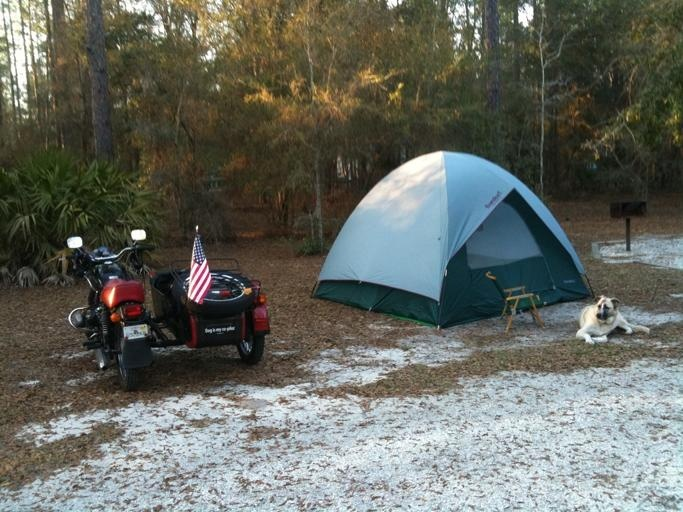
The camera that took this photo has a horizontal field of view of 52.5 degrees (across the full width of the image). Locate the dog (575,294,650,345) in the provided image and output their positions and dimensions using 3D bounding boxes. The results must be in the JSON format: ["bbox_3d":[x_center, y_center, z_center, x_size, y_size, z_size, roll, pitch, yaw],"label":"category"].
[{"bbox_3d":[3.918,0.878,10.325,1.034,0.622,0.538,-6,7,-22],"label":"dog"}]

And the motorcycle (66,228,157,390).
[{"bbox_3d":[-3.008,0.673,9.031,1.006,1.973,1.449,-5,7,-23],"label":"motorcycle"}]

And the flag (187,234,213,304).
[{"bbox_3d":[-1.844,0.103,8.763,0.303,0.951,0.608,-4,7,-12],"label":"flag"}]

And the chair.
[{"bbox_3d":[2.814,0.702,11.203,0.756,1.023,0.705,-13,10,-10],"label":"chair"}]
